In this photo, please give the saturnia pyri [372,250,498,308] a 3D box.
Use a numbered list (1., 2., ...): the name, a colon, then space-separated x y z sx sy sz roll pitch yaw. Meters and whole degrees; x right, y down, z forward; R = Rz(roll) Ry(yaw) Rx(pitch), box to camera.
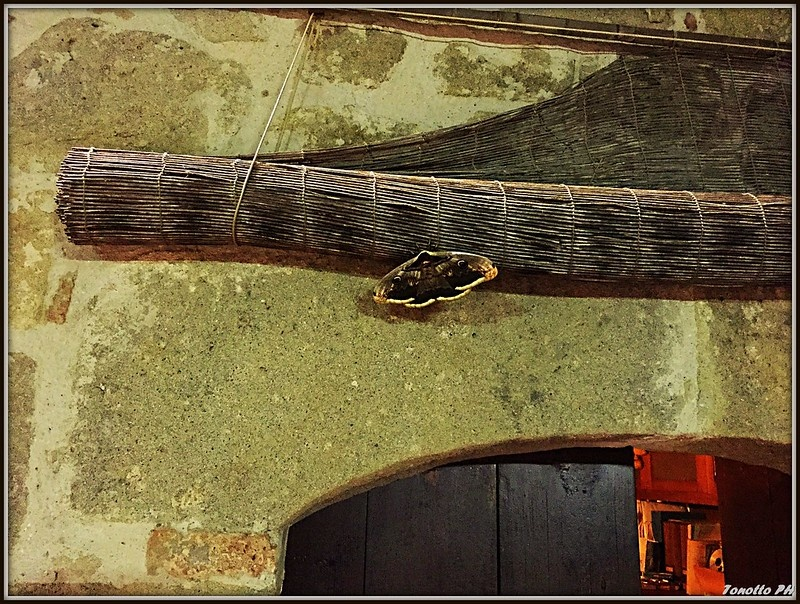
1. saturnia pyri: 0.123 -0.101 3.925 0.376 0.186 0.433 -1 6 10
